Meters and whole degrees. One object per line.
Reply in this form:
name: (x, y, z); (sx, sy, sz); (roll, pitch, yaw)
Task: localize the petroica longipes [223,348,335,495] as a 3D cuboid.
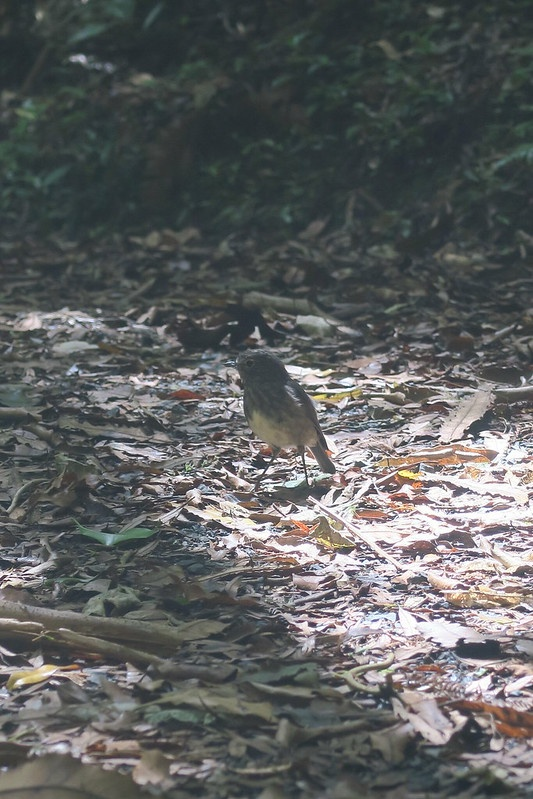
petroica longipes: (0.062, 0.041, 3.769); (0.530, 0.415, 0.232); (7, 2, 38)
